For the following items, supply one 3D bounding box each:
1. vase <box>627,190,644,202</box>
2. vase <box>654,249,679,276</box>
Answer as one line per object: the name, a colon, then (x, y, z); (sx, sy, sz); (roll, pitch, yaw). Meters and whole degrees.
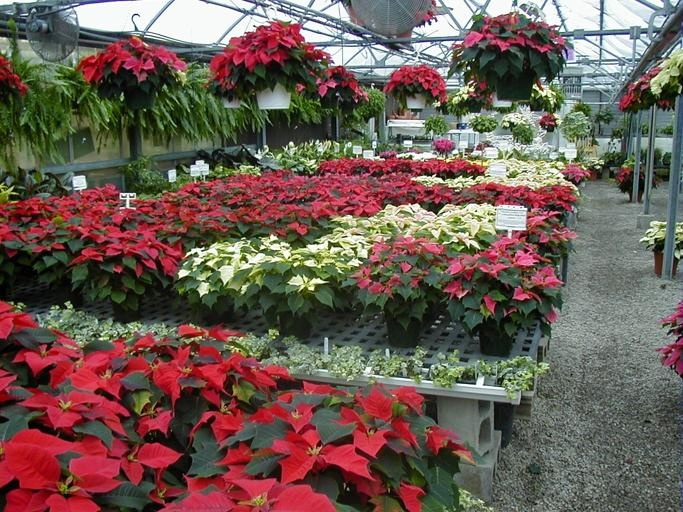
vase: (6.783, -1.390, 10.456); (0.287, 0.181, 0.264); (-1, 7, -3)
vase: (3.885, 0.084, 5.484); (0.338, 0.226, 0.318); (-17, 23, -42)
